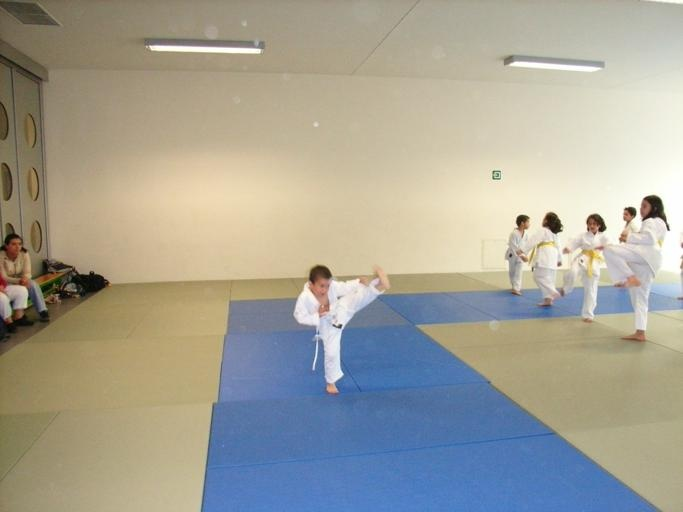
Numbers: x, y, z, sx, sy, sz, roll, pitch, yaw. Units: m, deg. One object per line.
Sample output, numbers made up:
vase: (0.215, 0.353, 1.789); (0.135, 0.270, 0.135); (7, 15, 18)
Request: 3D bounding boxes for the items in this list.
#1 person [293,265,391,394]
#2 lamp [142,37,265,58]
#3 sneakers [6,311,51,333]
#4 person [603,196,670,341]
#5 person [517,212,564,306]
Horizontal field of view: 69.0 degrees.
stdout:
person: (-0.076, 0.637, 5.045); (0.808, 1.374, 0.762); (3, -22, -22)
lamp: (-2.153, -3.341, 8.018); (1.822, 0.182, 0.667); (0, 6, -10)
sneakers: (-4.269, 0.883, 6.773); (0.501, 0.234, 0.158); (-7, 11, -25)
person: (3.852, 0.125, 6.437); (0.729, 1.831, 0.572); (0, 6, -14)
person: (3.222, 0.031, 8.001); (0.594, 1.470, 0.768); (4, 6, 24)
